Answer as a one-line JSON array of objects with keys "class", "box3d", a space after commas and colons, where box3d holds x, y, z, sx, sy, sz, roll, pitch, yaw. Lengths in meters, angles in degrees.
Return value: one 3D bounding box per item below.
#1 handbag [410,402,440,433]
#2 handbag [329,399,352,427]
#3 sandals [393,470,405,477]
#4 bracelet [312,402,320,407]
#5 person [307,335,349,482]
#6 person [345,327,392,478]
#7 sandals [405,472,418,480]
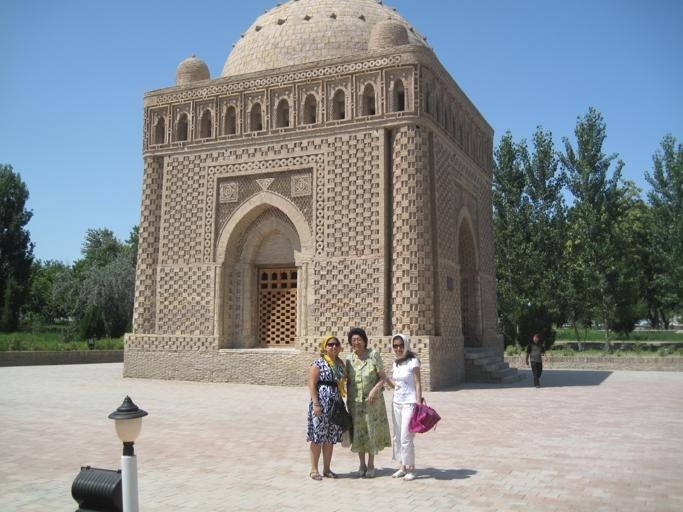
[{"class": "handbag", "box3d": [0.964, 1.896, 7.183, 0.332, 0.333, 0.214, 0, -8, -1]}, {"class": "handbag", "box3d": [-0.017, 1.865, 7.233, 0.092, 0.248, 0.245, -28, -39, 20]}, {"class": "sandals", "box3d": [0.679, 2.561, 7.203, 0.145, 0.067, 0.058, 5, -11, -8]}, {"class": "bracelet", "box3d": [-0.283, 1.724, 7.147, 0.071, 0.061, 0.044, 3, -8, -17]}, {"class": "person", "box3d": [-0.172, 1.797, 7.367, 0.489, 1.648, 0.465, 2, -8, -13]}, {"class": "person", "box3d": [0.325, 1.749, 7.374, 0.546, 1.749, 0.339, 0, -7, 2]}, {"class": "sandals", "box3d": [0.820, 2.558, 7.120, 0.168, 0.078, 0.140, 2, -9, -11]}]
